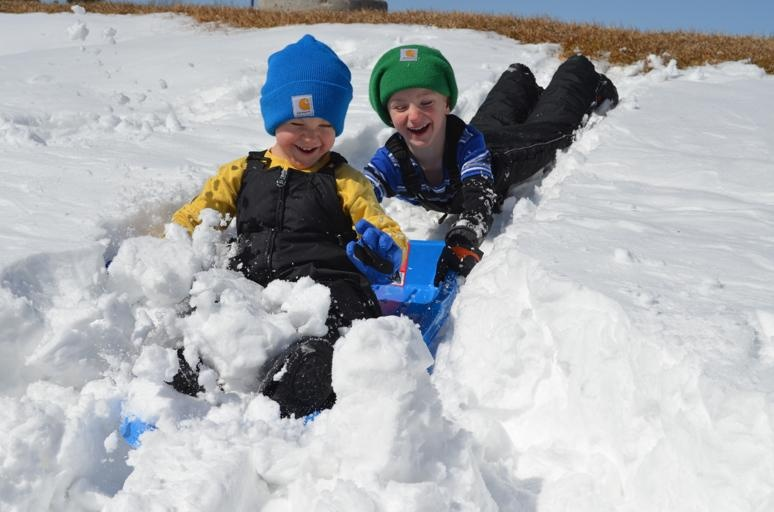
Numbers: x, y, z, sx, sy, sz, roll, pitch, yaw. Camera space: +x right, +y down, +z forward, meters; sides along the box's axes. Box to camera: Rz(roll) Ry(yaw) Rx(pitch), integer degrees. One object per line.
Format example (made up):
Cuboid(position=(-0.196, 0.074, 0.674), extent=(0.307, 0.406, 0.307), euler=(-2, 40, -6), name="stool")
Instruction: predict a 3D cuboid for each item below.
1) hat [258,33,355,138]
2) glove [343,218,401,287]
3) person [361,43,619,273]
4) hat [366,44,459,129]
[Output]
Cuboid(position=(-0.499, -1.057, 4.921), extent=(0.541, 0.636, 0.715), euler=(2, 12, -9), name="hat")
Cuboid(position=(0.000, -0.074, 4.511), extent=(0.411, 0.189, 0.314), euler=(37, 20, -1), name="glove")
Cuboid(position=(0.782, -1.096, 5.636), extent=(1.236, 0.996, 2.148), euler=(22, 59, 39), name="person")
Cuboid(position=(0.145, -1.179, 5.207), extent=(0.450, 0.372, 0.515), euler=(-6, 5, 15), name="hat")
